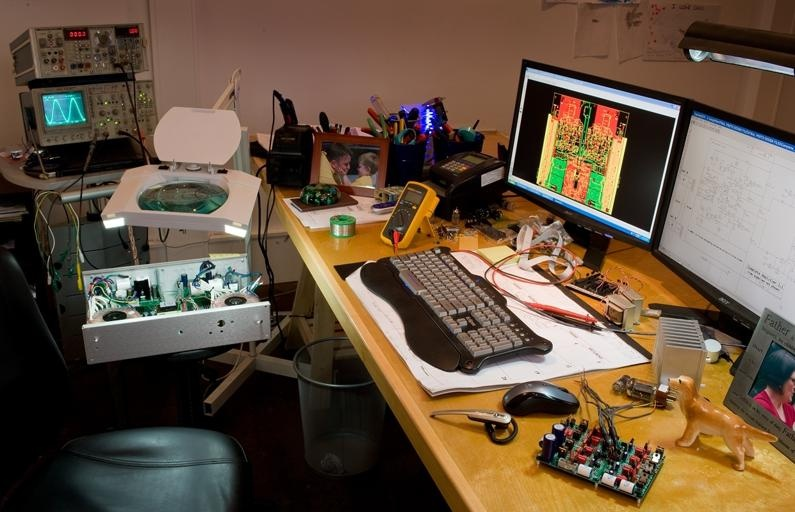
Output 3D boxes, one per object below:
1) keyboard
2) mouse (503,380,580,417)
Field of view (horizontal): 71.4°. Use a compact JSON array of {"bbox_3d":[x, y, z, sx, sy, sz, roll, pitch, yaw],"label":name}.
[{"bbox_3d":[0.163,0.240,1.652,0.293,0.071,0.534,-12,30,-22],"label":"keyboard"},{"bbox_3d":[0.350,0.362,1.385,0.178,0.060,0.084,-2,22,3],"label":"mouse"}]
